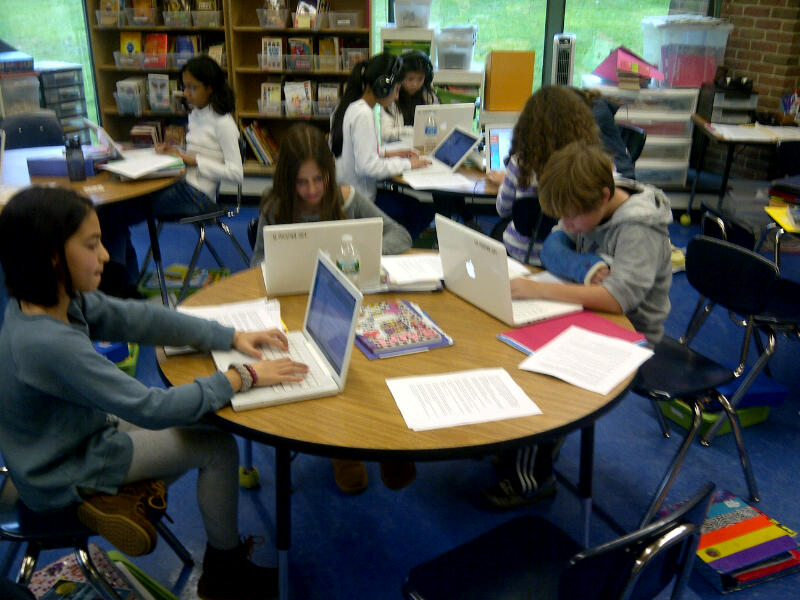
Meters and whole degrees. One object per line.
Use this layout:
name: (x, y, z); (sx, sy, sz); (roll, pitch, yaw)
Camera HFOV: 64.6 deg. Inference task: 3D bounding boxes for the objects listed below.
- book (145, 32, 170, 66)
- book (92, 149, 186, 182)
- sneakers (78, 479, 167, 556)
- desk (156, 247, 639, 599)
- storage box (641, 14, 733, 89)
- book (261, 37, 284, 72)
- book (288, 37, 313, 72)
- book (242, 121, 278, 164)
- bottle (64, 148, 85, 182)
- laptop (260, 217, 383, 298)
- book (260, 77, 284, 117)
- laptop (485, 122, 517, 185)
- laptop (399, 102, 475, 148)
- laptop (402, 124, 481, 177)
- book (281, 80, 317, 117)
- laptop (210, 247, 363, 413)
book: (-2.200, -2.272, 5.736); (0.221, 0.363, 0.182); (3, 12, -1)
book: (-1.554, -0.811, 3.800); (0.277, 0.067, 0.297); (16, 30, 24)
sneakers: (-0.812, 0.659, 1.880); (0.254, 0.141, 0.199); (-16, 29, -29)
desk: (-0.034, 0.008, 2.289); (1.124, 0.690, 1.253); (-3, 23, -6)
storage box: (2.517, -2.208, 5.616); (0.729, 0.550, 0.440); (10, 26, 21)
book: (-1.134, -2.168, 5.585); (0.227, 0.363, 0.242); (-6, 23, -18)
book: (-0.881, -2.184, 5.623); (0.243, 0.289, 0.165); (5, -12, 1)
book: (-1.312, -1.461, 5.924); (0.075, 0.359, 0.335); (-22, -14, 10)
bottle: (-1.898, -0.792, 3.670); (0.121, 0.188, 0.072); (1, 23, 2)
laptop: (-0.327, -0.183, 2.546); (0.391, 0.308, 0.303); (-2, 28, -10)
book: (-1.169, -1.826, 5.716); (0.237, 0.289, 0.068); (-1, -2, 7)
laptop: (0.647, -0.952, 4.064); (0.307, 0.415, 0.090); (0, -10, -14)
laptop: (0.314, -1.277, 4.503); (0.434, 0.326, 0.325); (-16, 37, -25)
laptop: (0.289, -1.055, 4.097); (0.340, 0.242, 0.368); (-14, 27, -21)
book: (-0.911, -1.795, 5.621); (0.261, 0.312, 0.067); (-1, 18, -1)
laptop: (-0.365, 0.117, 2.054); (0.416, 0.420, 0.545); (-5, 27, -14)
